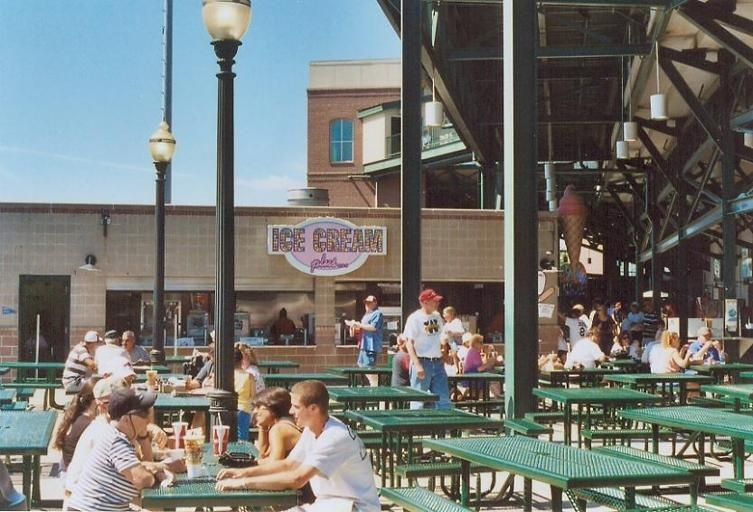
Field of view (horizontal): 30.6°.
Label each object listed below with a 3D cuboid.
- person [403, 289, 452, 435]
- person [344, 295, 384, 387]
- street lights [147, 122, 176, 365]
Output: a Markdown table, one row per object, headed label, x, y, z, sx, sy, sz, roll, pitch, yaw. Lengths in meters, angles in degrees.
| label | x | y | z | sx | sy | sz | roll | pitch | yaw |
| --- | --- | --- | --- | --- | --- | --- | --- | --- | --- |
| person | 1.206 | 2.360 | 33.237 | 0.884 | 3.019 | 1.104 | 1 | -1 | 0 |
| person | -0.157 | 2.208 | 38.822 | 0.980 | 2.882 | 1.105 | 1 | -1 | -18 |
| street lights | -5.959 | -0.055 | 38.331 | 0.599 | 7.450 | 0.903 | 0 | -2 | -9 |
